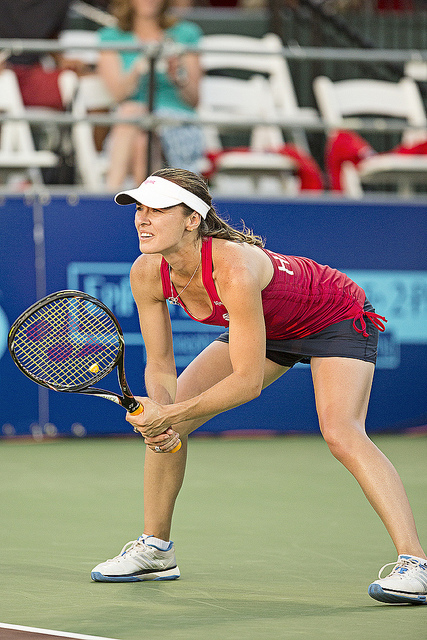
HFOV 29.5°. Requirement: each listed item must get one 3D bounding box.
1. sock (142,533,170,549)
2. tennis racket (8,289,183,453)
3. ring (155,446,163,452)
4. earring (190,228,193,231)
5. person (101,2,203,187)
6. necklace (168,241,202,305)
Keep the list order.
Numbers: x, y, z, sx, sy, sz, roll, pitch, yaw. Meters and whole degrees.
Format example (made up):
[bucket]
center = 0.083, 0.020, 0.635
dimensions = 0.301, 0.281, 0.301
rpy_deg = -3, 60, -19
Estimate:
[sock]
center = -0.179, 0.703, 2.577
dimensions = 0.085, 0.034, 0.028
rpy_deg = 16, 53, 0
[tennis racket]
center = -0.583, 0.215, 3.779
dimensions = 1.022, 0.401, 0.099
rpy_deg = 36, 4, -18
[ring]
center = -0.162, 0.387, 2.445
dimensions = 0.018, 0.017, 0.004
rpy_deg = -6, 30, 29
[earring]
center = -0.061, -0.257, 2.308
dimensions = 0.005, 0.011, 0.014
rpy_deg = 7, 25, 12
[person]
center = -0.395, -1.467, 5.332
dimensions = 0.659, 1.136, 0.789
rpy_deg = -1, 25, -5
[necklace]
center = -0.090, -0.133, 2.418
dimensions = 0.058, 0.243, 0.182
rpy_deg = -10, 27, -23
